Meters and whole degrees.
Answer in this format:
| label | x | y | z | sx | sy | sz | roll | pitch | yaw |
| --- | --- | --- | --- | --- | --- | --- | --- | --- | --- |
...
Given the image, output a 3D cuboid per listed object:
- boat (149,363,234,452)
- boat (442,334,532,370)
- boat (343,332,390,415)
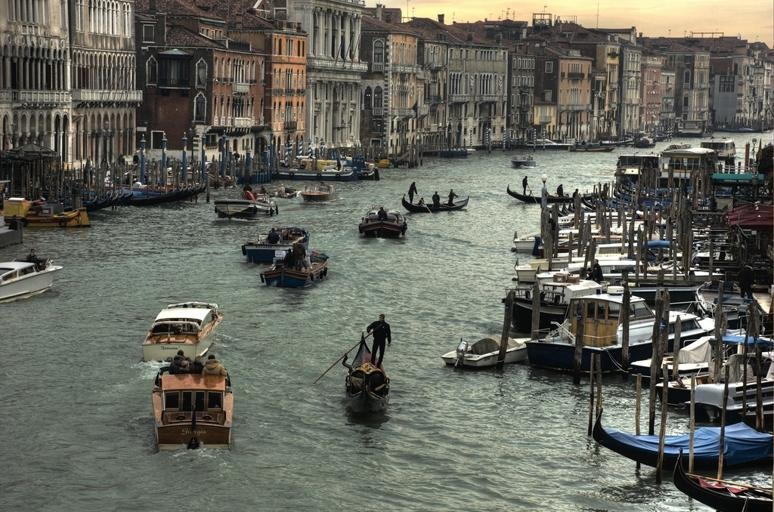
| label | x | y | z | sx | sy | sz | roll | pitch | yaw |
| --- | --- | --- | --- | --- | --- | --- | --- | --- | --- |
| boat | -7.447 | 5.710 | 54.330 | 2.931 | 3.015 | 2.227 | -1 | 5 | -8 |
| boat | 4.291 | 4.256 | 61.900 | 3.778 | 1.250 | 1.813 | 0 | 5 | -2 |
| boat | -0.852 | 4.857 | 58.255 | 1.142 | 1.278 | 3.840 | 1 | 19 | -1 |
